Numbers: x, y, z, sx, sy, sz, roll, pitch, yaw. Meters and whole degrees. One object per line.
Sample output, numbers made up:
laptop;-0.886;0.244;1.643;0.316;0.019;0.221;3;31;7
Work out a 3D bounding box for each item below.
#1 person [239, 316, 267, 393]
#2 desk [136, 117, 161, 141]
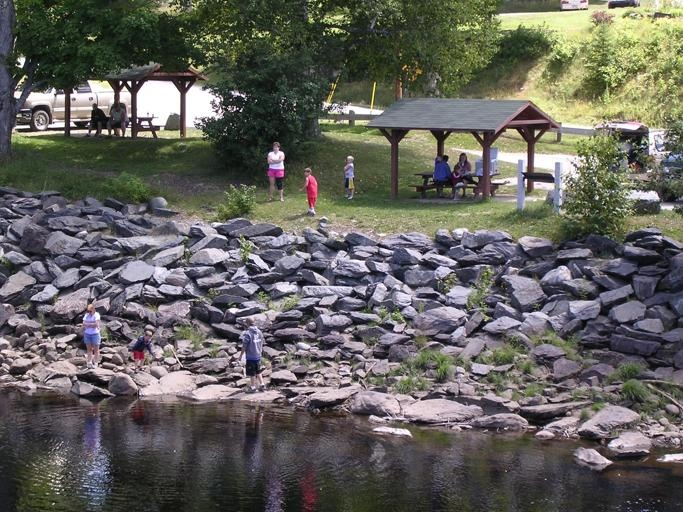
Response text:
person;-2.882;3.115;37.171;0.738;2.089;1.004;4;5;-13
desk;-9.817;-6.475;58.222;1.058;0.952;1.948;-3;10;-14
